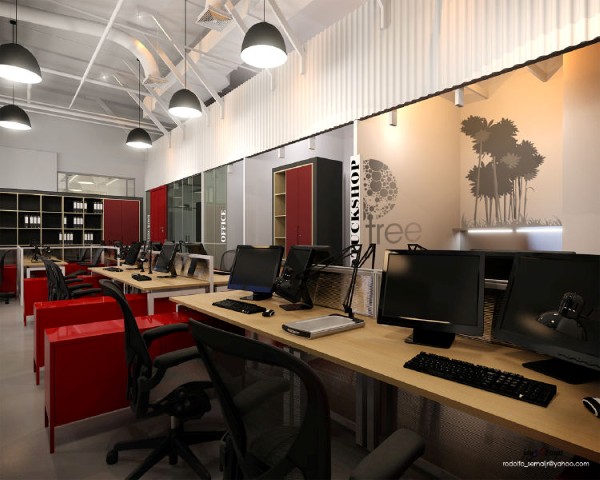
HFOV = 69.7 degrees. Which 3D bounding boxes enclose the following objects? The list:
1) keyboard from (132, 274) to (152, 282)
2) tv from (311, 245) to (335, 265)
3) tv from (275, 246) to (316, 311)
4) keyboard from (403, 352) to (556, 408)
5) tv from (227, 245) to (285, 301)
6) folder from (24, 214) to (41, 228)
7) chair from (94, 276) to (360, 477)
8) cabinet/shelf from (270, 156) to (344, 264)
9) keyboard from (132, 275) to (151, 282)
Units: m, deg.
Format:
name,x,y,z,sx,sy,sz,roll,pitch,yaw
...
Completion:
name,x,y,z,sx,sy,sz,roll,pitch,yaw
keyboard,-1.832,0.439,4.980,0.110,0.037,0.226,2,0,-35
tv,0.171,0.109,3.122,0.143,0.150,0.120,2,2,-7
tv,-0.025,0.296,3.193,0.222,0.469,0.389,9,-5,-27
keyboard,0.841,0.654,2.053,0.666,0.127,0.160,1,2,27
tv,-0.346,0.276,3.476,0.351,0.332,0.131,9,-26,43
folder,-5.578,-0.391,8.966,0.296,0.293,0.267,-1,2,-38
chair,-0.567,0.931,3.032,1.916,1.423,1.040,-4,-10,43
cabinet/shelf,0.127,-0.503,6.507,0.649,1.310,0.931,-1,2,-42
keyboard,-1.835,0.440,4.976,0.108,0.039,0.220,3,0,-33
